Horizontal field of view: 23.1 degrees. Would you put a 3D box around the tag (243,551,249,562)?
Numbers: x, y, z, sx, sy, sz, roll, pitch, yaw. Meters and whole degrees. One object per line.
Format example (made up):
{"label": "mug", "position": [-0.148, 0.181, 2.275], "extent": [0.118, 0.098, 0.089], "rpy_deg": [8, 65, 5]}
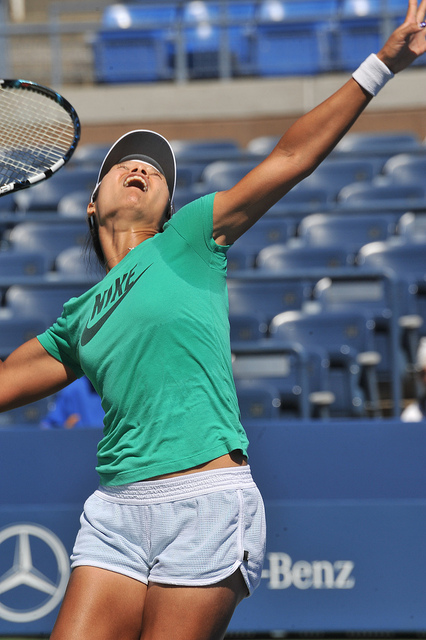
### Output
{"label": "tag", "position": [0.088, 0.610, 2.690], "extent": [0.006, 0.022, 0.024], "rpy_deg": [0, -3, 39]}

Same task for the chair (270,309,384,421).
{"label": "chair", "position": [0.600, 0.235, 5.329], "extent": [0.398, 0.479, 0.175], "rpy_deg": [-1, -20, 10]}

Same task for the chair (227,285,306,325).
{"label": "chair", "position": [0.301, -0.148, 6.197], "extent": [0.499, 0.315, 0.239], "rpy_deg": [0, -2, 17]}

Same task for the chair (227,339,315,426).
{"label": "chair", "position": [0.351, 0.296, 5.445], "extent": [0.432, 0.573, 0.439], "rpy_deg": [-3, -13, 20]}
